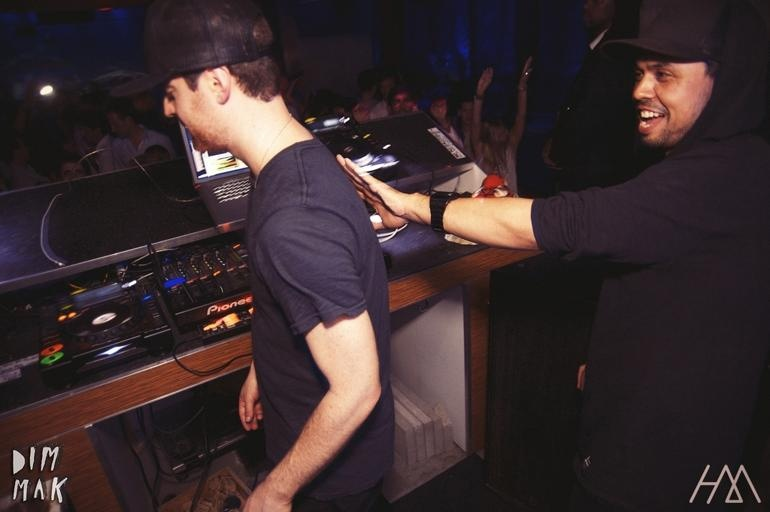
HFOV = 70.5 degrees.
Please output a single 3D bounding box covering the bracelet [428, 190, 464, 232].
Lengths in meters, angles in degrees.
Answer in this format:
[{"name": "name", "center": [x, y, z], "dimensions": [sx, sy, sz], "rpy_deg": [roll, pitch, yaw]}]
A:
[{"name": "bracelet", "center": [0.194, -0.180, 2.102], "dimensions": [0.101, 0.164, 0.154], "rpy_deg": [28, 23, 37]}]
